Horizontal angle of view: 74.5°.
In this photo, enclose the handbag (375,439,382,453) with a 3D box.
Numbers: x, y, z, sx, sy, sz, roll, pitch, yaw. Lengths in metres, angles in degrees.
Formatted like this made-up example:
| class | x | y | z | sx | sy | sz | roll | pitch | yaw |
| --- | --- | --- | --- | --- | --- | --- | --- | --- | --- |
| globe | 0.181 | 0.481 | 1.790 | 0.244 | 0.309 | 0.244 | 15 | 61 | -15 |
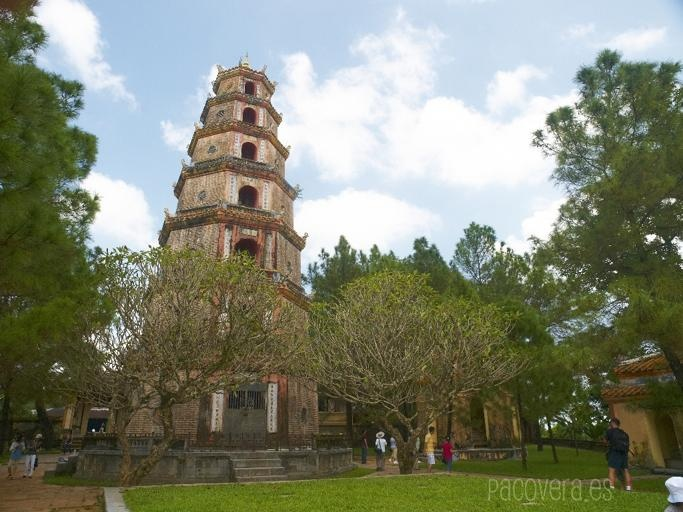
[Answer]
| class | x | y | z | sx | sy | sz | roll | pitch | yaw |
| --- | --- | --- | --- | --- | --- | --- | --- | --- | --- |
| handbag | 1.911 | 9.316 | 22.004 | 0.410 | 0.815 | 0.575 | 4 | -25 | 0 |
